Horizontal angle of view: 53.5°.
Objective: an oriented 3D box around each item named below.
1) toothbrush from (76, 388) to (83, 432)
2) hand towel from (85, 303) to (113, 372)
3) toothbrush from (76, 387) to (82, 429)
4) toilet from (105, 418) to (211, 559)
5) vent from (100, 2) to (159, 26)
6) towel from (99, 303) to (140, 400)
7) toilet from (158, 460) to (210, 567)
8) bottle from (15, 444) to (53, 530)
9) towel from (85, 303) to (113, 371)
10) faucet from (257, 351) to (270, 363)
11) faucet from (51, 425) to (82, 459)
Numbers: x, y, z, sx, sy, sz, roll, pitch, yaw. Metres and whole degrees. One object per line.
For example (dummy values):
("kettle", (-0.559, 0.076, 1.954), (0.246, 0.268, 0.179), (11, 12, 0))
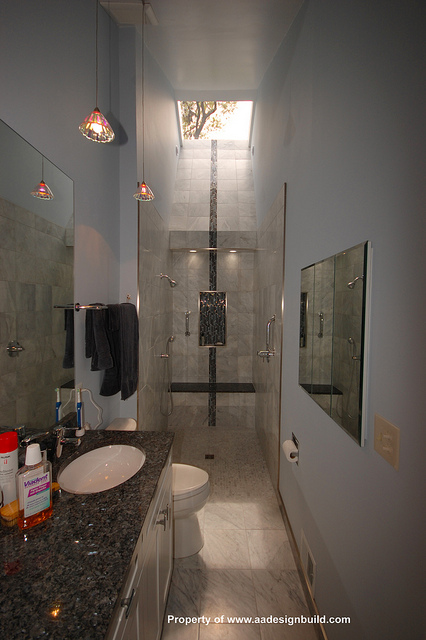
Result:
("toothbrush", (-0.541, 0.362, 1.718), (0.023, 0.175, 0.033), (-1, 8, -27))
("hand towel", (-0.527, 0.088, 1.918), (0.057, 0.279, 0.176), (0, -1, 0))
("toothbrush", (-0.543, 0.355, 1.720), (0.020, 0.167, 0.031), (-2, 8, -32))
("toilet", (-0.206, 0.840, 2.161), (0.335, 0.698, 0.313), (4, 18, 17))
("vent", (-0.440, -1.590, 2.188), (0.154, 0.053, 0.171), (-2, 10, -4))
("towel", (-0.492, 0.146, 2.251), (0.129, 0.474, 0.237), (0, 1, 19))
("toilet", (-0.127, 0.993, 2.175), (0.165, 0.390, 0.270), (6, 7, -5))
("bottle", (-0.482, 0.439, 1.147), (0.043, 0.266, 0.094), (26, 28, 37))
("towel", (-0.528, 0.083, 1.917), (0.056, 0.276, 0.176), (0, 0, 0))
("faucet", (0.353, 0.272, 2.932), (0.090, 0.113, 0.076), (1, 9, 4))
("faucet", (-0.542, 0.441, 1.573), (0.065, 0.169, 0.146), (2, 24, -4))
